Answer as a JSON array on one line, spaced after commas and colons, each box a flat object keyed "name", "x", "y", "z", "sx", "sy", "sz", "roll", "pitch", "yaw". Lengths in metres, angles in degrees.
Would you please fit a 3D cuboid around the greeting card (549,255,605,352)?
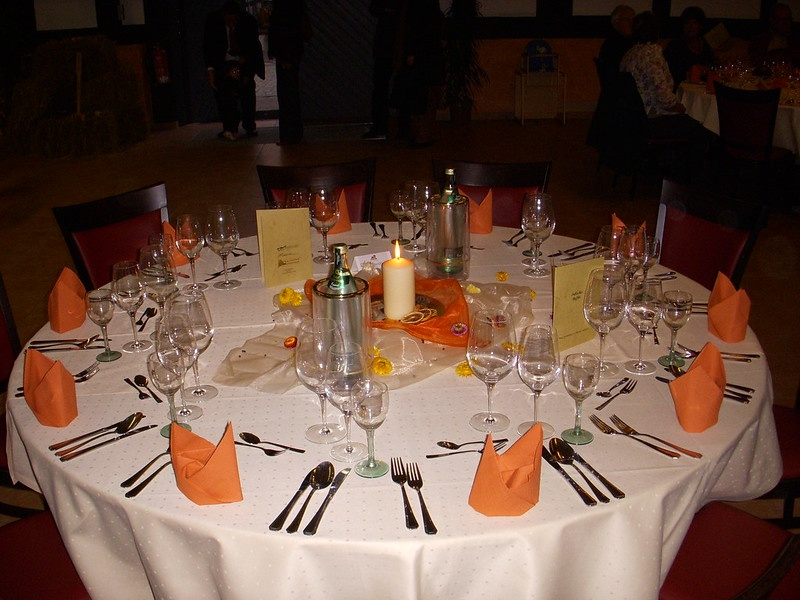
[{"name": "greeting card", "x": 0.512, "y": 0.019, "z": 1.678, "sx": 0.222, "sy": 0.311, "sz": 0.014, "roll": -13, "pitch": 21, "yaw": -24}]
